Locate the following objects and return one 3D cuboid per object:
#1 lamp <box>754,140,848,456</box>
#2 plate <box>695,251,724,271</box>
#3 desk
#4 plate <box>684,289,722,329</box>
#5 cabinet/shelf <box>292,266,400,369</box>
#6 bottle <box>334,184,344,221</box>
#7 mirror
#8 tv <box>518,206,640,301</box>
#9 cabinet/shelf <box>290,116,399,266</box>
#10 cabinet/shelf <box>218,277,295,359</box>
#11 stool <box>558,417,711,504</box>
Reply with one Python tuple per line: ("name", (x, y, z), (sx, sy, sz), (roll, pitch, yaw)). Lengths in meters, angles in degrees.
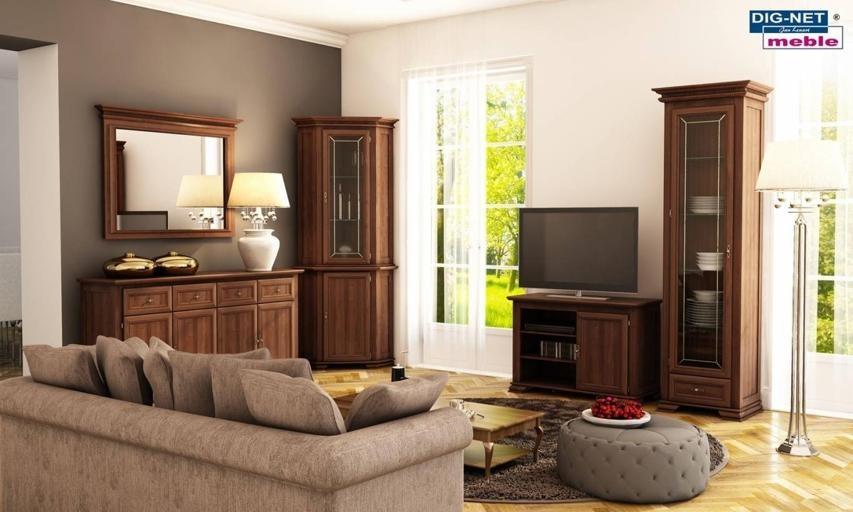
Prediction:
("lamp", (3.265, 0.295, 5.615), (0.644, 2.706, 1.154), (4, 9, 32))
("plate", (2.753, 0.058, 6.144), (0.196, 0.108, 0.185), (1, -1, -8))
("desk", (1.680, 1.046, 6.961), (1.456, 0.956, 0.550), (-1, -3, 42))
("plate", (2.715, 0.524, 6.174), (0.357, 0.317, 0.360), (2, 3, 40))
("cabinet/shelf", (-1.121, 0.816, 8.170), (1.488, 1.245, 0.551), (2, -4, -30))
("bottle", (-1.117, -0.675, 7.942), (0.117, 0.472, 0.048), (-1, 7, -4))
("mirror", (-2.939, -0.935, 7.018), (1.809, 1.416, 0.197), (-1, 1, -45))
("tv", (1.640, -0.077, 6.915), (1.428, 0.915, 0.069), (2, 5, 39))
("cabinet/shelf", (-1.017, -0.809, 8.000), (1.284, 1.870, 0.413), (-1, 7, -5))
("cabinet/shelf", (-1.865, 0.859, 7.404), (1.259, 1.127, 0.428), (-7, -12, 21))
("stool", (1.608, 1.446, 4.635), (0.714, 0.280, 0.695), (1, 0, -40))
